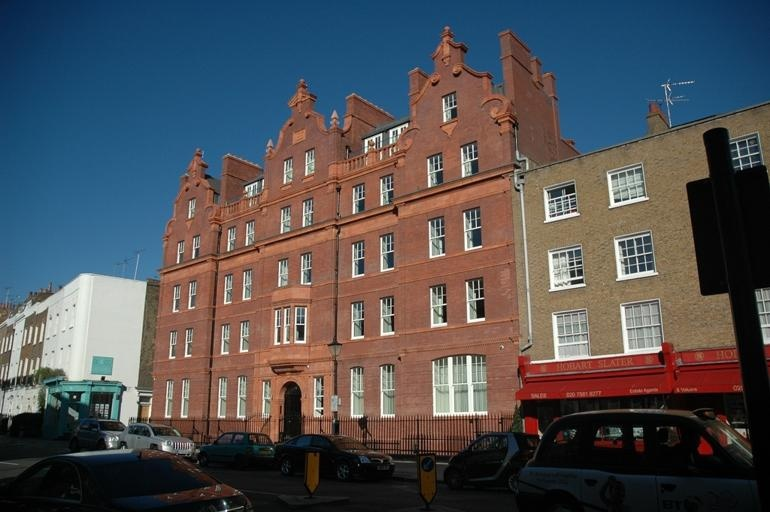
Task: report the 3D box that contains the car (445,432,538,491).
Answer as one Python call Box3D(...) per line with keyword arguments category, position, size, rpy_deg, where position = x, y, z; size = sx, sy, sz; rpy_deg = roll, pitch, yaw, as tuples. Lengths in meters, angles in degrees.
Box3D(category="car", position=(3.949, 7.025, 21.827), size=(1.970, 1.878, 3.685), rpy_deg=(18, -25, -36))

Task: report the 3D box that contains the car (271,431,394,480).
Box3D(category="car", position=(-2.159, 7.909, 25.399), size=(1.791, 1.785, 5.201), rpy_deg=(15, -25, -43))
